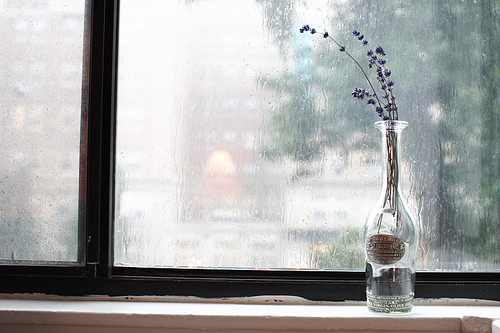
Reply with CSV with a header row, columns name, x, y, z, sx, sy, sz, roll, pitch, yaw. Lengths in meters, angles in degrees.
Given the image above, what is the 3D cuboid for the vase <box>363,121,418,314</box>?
name,x,y,z,sx,sy,sz,roll,pitch,yaw
vase,0.431,0.153,2.421,0.161,0.554,0.208,-2,-21,9
